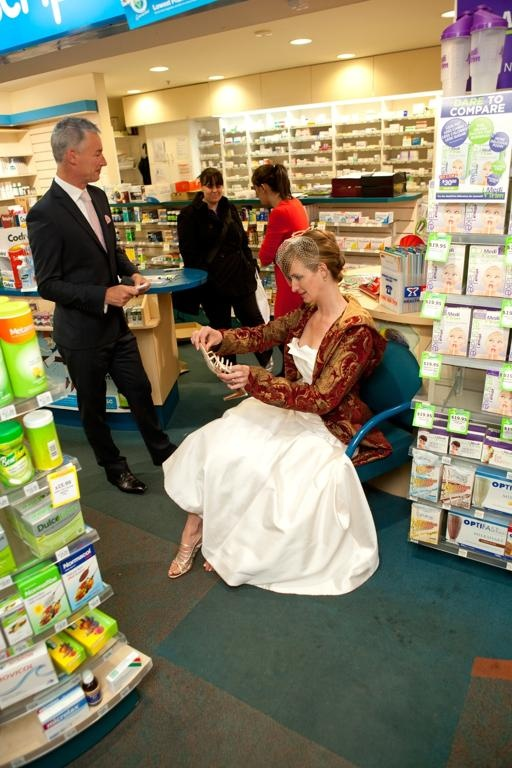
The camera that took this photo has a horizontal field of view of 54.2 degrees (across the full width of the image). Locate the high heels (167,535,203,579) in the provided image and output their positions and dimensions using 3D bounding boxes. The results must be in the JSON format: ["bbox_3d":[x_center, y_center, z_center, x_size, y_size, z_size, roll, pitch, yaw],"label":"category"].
[{"bbox_3d":[-0.312,0.783,2.311,0.079,0.083,0.237,-2,22,25],"label":"high heels"}]

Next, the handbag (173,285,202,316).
[{"bbox_3d":[-0.552,-0.743,4.460,0.218,0.240,0.253,7,22,42],"label":"handbag"}]

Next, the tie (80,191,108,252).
[{"bbox_3d":[-0.826,-0.833,2.552,0.069,0.291,0.031,-17,-1,-33],"label":"tie"}]

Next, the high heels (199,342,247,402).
[{"bbox_3d":[-0.214,-0.047,3.121,0.121,0.430,0.155,-20,22,-37],"label":"high heels"}]

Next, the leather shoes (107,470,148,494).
[{"bbox_3d":[-0.777,0.592,3.057,0.291,0.116,0.111,14,24,36],"label":"leather shoes"}]
